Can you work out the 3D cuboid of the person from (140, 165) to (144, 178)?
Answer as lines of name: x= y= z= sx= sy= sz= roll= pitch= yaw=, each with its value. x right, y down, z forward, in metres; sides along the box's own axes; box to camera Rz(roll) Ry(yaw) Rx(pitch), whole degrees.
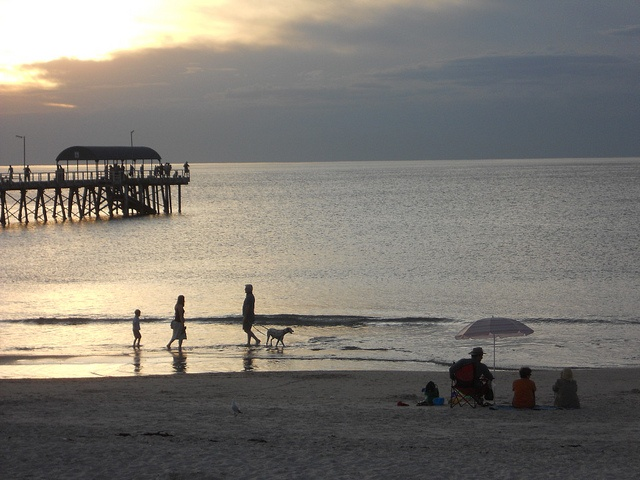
person: x=-13.305 y=-5.113 z=105.881 sx=0.308 sy=0.834 sz=0.972 roll=-2 pitch=9 yaw=-8

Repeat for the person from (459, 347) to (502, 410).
person: x=5.929 y=4.944 z=51.478 sx=0.930 sy=2.170 sz=0.847 roll=1 pitch=10 yaw=6

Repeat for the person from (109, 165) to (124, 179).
person: x=-14.965 y=-4.979 z=104.190 sx=1.362 sy=0.685 sz=1.109 roll=1 pitch=11 yaw=-2

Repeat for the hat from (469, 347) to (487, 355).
hat: x=5.745 y=4.013 z=51.443 sx=0.422 sy=0.312 sz=0.596 roll=2 pitch=8 yaw=12

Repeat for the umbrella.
umbrella: x=6.600 y=3.812 z=52.947 sx=2.841 sy=1.839 sz=2.540 roll=-4 pitch=-1 yaw=-27

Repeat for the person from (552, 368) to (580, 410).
person: x=8.989 y=5.292 z=51.238 sx=1.006 sy=1.480 sz=0.700 roll=1 pitch=10 yaw=8

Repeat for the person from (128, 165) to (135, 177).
person: x=-13.965 y=-5.074 z=105.225 sx=0.380 sy=0.743 sz=1.086 roll=-1 pitch=9 yaw=-7

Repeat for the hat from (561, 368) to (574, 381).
hat: x=9.041 y=4.793 z=51.109 sx=0.439 sy=0.373 sz=0.516 roll=-1 pitch=0 yaw=2

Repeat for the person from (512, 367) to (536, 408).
person: x=7.445 y=5.256 z=51.257 sx=0.840 sy=1.545 sz=0.818 roll=1 pitch=10 yaw=7
